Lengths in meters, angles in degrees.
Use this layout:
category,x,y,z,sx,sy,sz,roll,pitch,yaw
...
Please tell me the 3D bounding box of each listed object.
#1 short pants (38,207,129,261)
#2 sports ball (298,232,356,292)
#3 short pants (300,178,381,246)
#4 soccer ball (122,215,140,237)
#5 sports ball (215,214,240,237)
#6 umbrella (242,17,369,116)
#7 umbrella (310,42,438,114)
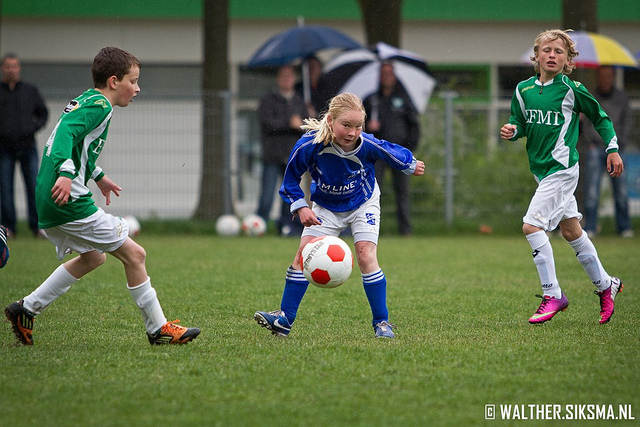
category,x,y,z,sx,sy,sz,roll,pitch,yaw
short pants,-2.183,0.198,8.332,0.765,0.500,0.268,-3,15,-10
sports ball,0.156,0.428,8.614,0.355,0.392,0.395,-28,-30,-12
short pants,0.228,-0.005,8.681,0.726,0.559,0.379,-1,15,0
soccer ball,-2.645,0.172,12.505,0.236,0.302,0.259,-17,14,5
sports ball,-1.526,0.155,14.858,0.343,0.292,0.375,5,25,-2
umbrella,-0.410,-2.770,15.100,2.023,1.658,1.952,-3,1,-13
umbrella,0.812,-2.089,13.658,1.490,0.799,1.571,-6,-24,18
